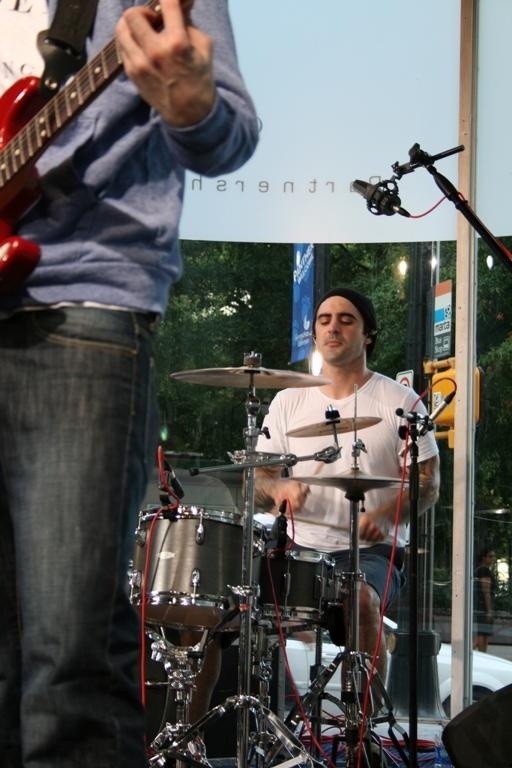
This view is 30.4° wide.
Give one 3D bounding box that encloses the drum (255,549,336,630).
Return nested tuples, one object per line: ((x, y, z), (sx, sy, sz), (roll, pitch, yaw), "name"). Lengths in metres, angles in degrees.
((0.141, 0.646, 2.989), (0.241, 0.172, 0.242), (2, -15, 1), "drum")

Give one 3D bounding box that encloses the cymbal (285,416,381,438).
((0.273, 0.147, 3.408), (0.276, 0.081, 0.242), (2, -3, -26), "cymbal")

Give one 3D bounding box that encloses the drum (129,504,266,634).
((-0.188, 0.489, 2.777), (0.481, 0.397, 0.426), (3, -4, -40), "drum")

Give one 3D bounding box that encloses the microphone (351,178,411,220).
((0.393, -0.534, 2.778), (0.147, 0.144, 0.177), (-6, 4, -40), "microphone")

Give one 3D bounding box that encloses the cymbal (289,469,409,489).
((0.295, 0.305, 2.999), (0.311, 0.076, 0.295), (4, -3, -5), "cymbal")

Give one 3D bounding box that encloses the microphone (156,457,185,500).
((-0.231, 0.241, 2.443), (0.044, 0.121, 0.095), (-22, -9, -1), "microphone")
